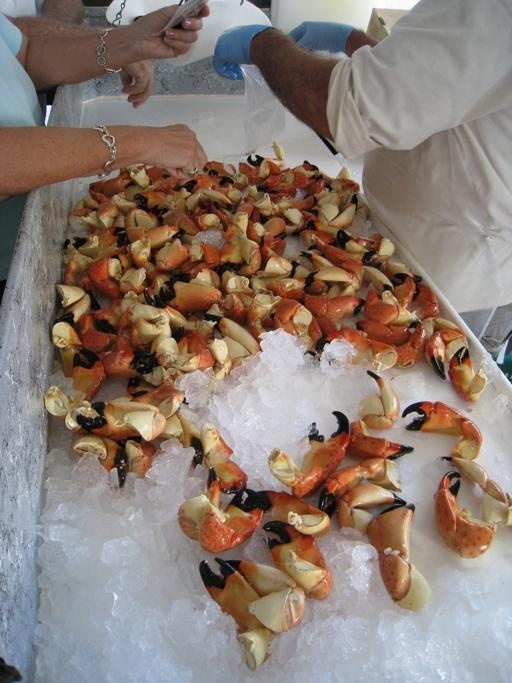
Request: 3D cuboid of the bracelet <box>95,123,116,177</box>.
[{"bbox_3d":[-0.271,-0.333,0.988,0.035,0.110,0.074,-6,48,-14],"label":"bracelet"}]
